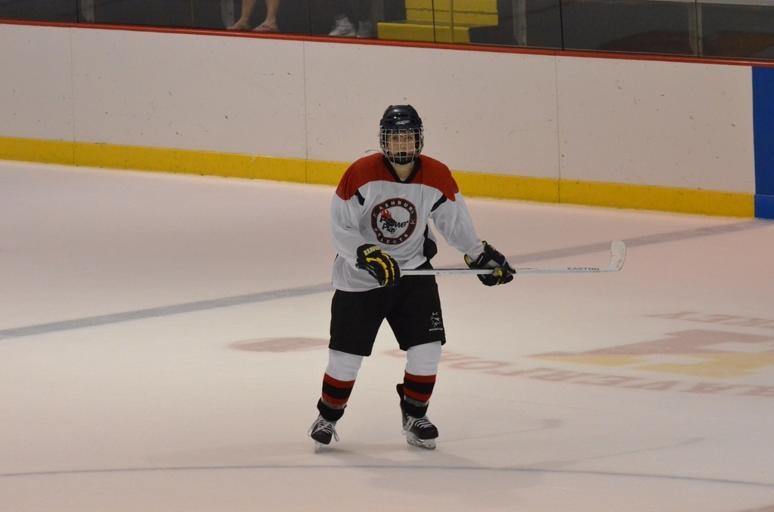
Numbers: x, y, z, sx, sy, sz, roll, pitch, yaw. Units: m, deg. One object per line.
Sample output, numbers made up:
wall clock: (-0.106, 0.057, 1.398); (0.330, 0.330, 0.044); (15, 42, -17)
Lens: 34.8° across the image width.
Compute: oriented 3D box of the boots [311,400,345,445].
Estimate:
boots: (-0.346, 0.941, 6.982); (0.117, 0.131, 0.322); (25, 10, -11)

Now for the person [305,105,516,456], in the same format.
person: (0.102, 0.110, 7.026); (0.928, 1.918, 0.473); (4, 6, 0)

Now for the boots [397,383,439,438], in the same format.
boots: (0.173, 0.917, 7.032); (0.158, 0.278, 0.435); (-1, 4, -17)

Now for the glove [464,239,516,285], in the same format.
glove: (0.606, 0.030, 7.211); (0.296, 0.235, 0.122); (41, 26, -12)

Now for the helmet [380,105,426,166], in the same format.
helmet: (0.067, -0.719, 7.023); (0.262, 0.298, 0.329); (-1, 17, -2)
